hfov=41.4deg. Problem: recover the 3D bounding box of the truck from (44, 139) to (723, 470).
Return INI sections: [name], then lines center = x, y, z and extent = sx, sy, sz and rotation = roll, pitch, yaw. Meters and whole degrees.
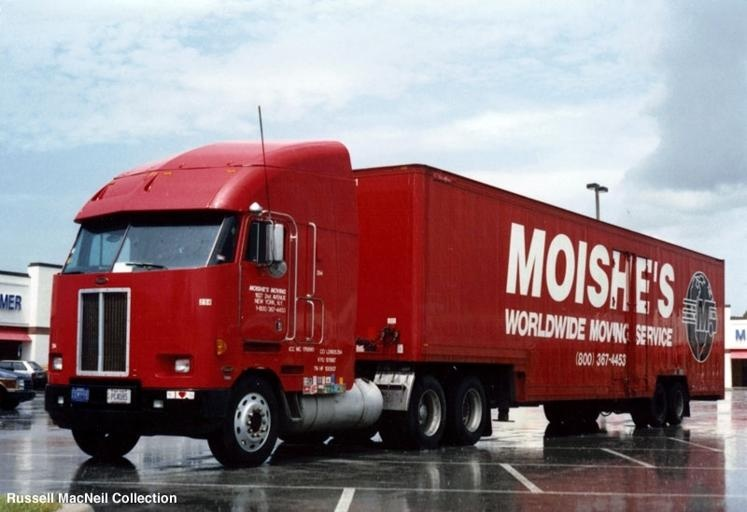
[truck]
center = 2.575, 1.460, 24.537
extent = 4.823, 6.180, 21.340
rotation = -9, -10, 39
